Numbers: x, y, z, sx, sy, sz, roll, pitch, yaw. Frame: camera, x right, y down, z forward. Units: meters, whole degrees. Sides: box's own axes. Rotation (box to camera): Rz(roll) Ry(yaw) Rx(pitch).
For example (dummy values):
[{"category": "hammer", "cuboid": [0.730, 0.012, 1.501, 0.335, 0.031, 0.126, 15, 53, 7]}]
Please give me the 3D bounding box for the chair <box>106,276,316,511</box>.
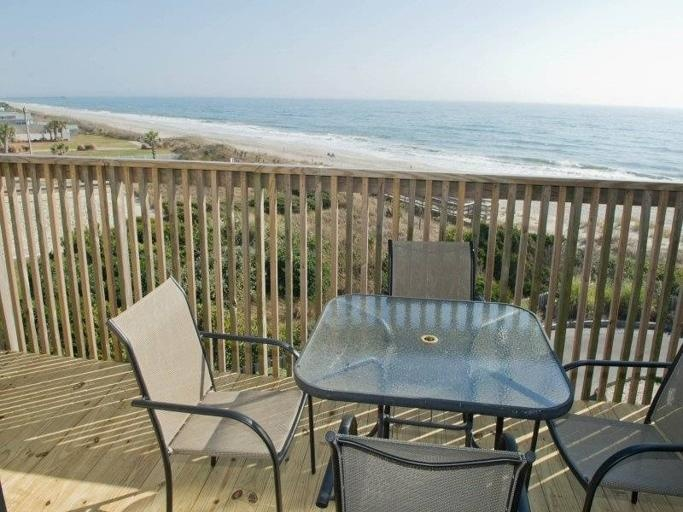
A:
[{"category": "chair", "cuboid": [-0.569, 0.693, 2.498, 0.803, 1.031, 0.661, 2, 14, 9]}]
